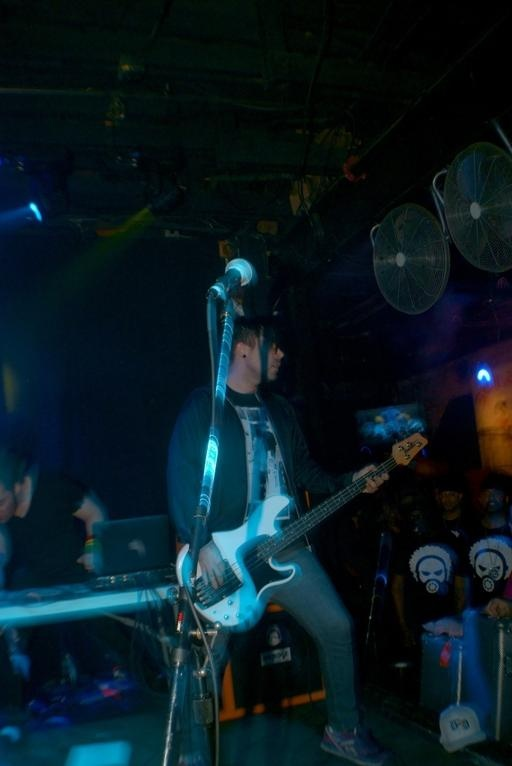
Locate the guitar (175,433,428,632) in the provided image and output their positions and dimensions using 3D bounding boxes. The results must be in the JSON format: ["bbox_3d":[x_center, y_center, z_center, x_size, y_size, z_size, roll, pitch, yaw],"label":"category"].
[{"bbox_3d":[0.275,0.764,3.239,1.530,0.513,0.163,-37,-10,-27],"label":"guitar"}]

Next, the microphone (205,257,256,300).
[{"bbox_3d":[-0.087,-0.377,2.395,0.091,0.108,0.259,7,38,19],"label":"microphone"}]

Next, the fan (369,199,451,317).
[{"bbox_3d":[0.920,-0.749,3.875,0.145,0.613,0.557,-7,6,-20],"label":"fan"}]

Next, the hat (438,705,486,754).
[{"bbox_3d":[0.968,1.634,3.118,0.284,0.132,0.136,-2,-5,-35],"label":"hat"}]

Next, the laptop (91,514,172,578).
[{"bbox_3d":[-0.662,0.790,3.488,0.385,0.288,0.281,-1,-8,-13],"label":"laptop"}]
